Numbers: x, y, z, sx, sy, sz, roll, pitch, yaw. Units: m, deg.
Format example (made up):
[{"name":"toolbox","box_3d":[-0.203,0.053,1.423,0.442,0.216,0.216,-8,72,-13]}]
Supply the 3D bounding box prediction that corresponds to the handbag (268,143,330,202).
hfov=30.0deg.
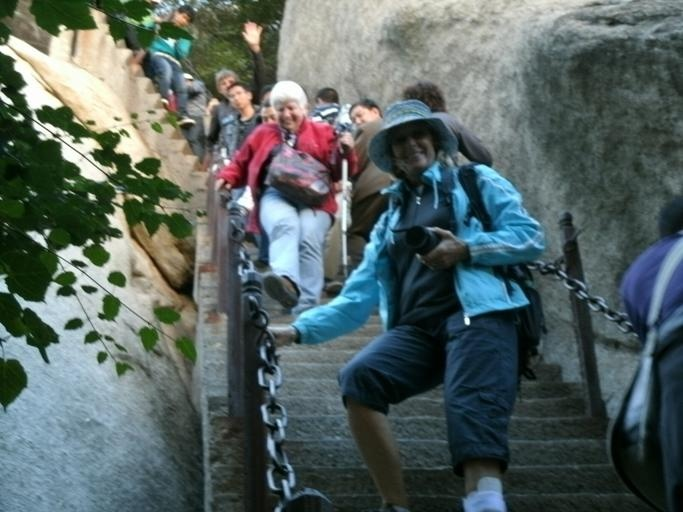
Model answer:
[{"name":"handbag","box_3d":[-0.382,-0.671,10.810,0.571,0.408,0.221,36,-12,-27]}]

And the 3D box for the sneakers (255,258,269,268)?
[{"name":"sneakers","box_3d":[-0.747,0.066,11.758,0.125,0.049,0.182,1,-5,0]}]

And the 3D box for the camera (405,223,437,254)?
[{"name":"camera","box_3d":[0.544,-0.107,8.909,0.224,0.169,0.208,7,-20,-39]}]

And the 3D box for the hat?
[{"name":"hat","box_3d":[0.465,-0.935,9.474,0.683,0.489,0.310,-11,42,2]}]
